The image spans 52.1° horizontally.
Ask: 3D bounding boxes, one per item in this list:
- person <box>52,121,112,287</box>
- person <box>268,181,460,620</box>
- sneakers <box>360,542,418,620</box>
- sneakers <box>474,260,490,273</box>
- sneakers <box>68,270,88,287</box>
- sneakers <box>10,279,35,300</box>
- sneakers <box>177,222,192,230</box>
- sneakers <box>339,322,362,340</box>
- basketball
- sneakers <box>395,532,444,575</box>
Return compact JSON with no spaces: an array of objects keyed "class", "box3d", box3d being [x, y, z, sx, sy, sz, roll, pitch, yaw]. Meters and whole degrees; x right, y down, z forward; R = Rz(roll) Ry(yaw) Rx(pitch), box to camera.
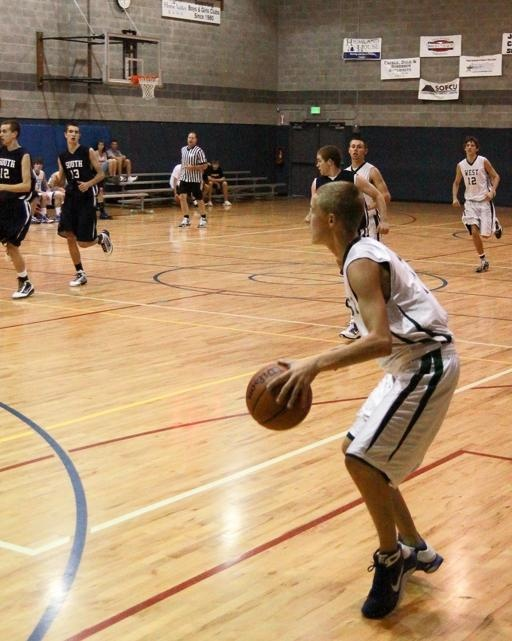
[{"class":"person","box3d":[-2.448,-1.649,7.463,0.724,2.324,1.255,-2,3,-20]},{"class":"person","box3d":[0.314,0.219,1.363,0.327,1.165,0.629,1,3,35]},{"class":"sneakers","box3d":[0.343,0.655,1.411,0.080,0.105,0.245,-9,33,48]},{"class":"sneakers","box3d":[3.904,-0.933,9.080,0.163,0.259,0.460,-5,3,43]},{"class":"sneakers","box3d":[-2.604,-0.592,7.723,0.148,0.170,0.390,-1,3,4]},{"class":"sneakers","box3d":[-3.076,-0.413,7.030,0.155,0.203,0.441,-4,6,8]},{"class":"sneakers","box3d":[-1.955,-2.571,14.106,0.409,0.237,0.130,2,7,6]},{"class":"sneakers","box3d":[0.967,0.104,5.350,0.175,0.210,0.507,-3,-5,22]},{"class":"basketball","box3d":[0.053,0.183,1.250,0.152,0.168,0.174,-1,3,4]},{"class":"sneakers","box3d":[0.491,0.682,1.548,0.085,0.104,0.241,-30,-28,23]}]
